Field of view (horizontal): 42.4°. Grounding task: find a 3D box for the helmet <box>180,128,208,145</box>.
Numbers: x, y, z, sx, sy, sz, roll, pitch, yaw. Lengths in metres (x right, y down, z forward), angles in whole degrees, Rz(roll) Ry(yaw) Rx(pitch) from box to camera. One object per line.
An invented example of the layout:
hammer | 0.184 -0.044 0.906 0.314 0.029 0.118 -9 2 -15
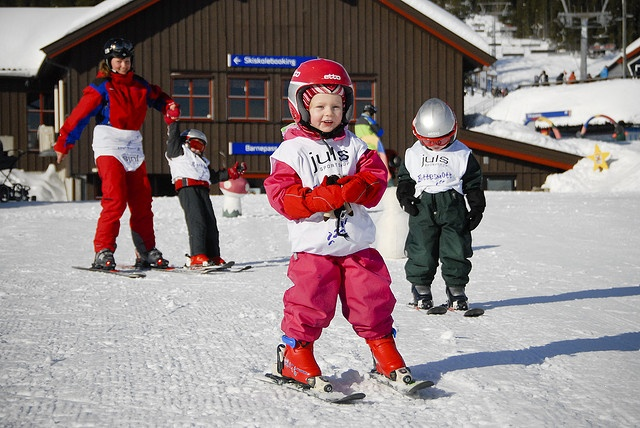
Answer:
helmet | -1.899 -1.174 12.334 0.328 0.314 0.259 13 4 7

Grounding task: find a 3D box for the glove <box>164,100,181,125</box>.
glove | -2.162 -1.459 12.026 0.189 0.337 0.173 6 -7 -21

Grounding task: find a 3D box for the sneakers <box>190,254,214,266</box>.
sneakers | -1.725 0.676 11.919 0.392 0.207 0.145 -1 -11 15

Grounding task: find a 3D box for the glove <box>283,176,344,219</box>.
glove | -0.080 -0.154 8.747 0.513 0.435 0.220 -16 -14 20

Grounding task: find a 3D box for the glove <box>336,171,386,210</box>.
glove | 0.425 -0.254 8.811 0.364 0.396 0.178 -15 40 29

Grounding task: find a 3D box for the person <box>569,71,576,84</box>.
person | 15.182 -8.251 49.819 0.426 0.643 3.715 2 9 16

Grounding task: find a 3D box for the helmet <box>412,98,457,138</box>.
helmet | 1.429 -1.170 10.427 0.391 0.494 0.566 -4 45 16

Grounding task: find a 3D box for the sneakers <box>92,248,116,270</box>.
sneakers | -3.066 0.647 11.625 0.325 0.284 0.242 -2 8 -11

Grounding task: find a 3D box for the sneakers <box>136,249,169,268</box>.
sneakers | -2.479 0.668 11.993 0.541 0.308 0.211 -1 -1 22

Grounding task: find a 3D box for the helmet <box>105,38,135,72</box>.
helmet | -2.916 -2.294 11.873 0.343 0.468 0.446 -5 19 -29

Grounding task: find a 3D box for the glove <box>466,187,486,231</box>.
glove | 1.940 -0.058 10.412 0.143 0.471 0.316 8 2 30

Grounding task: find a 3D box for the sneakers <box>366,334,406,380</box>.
sneakers | 0.723 1.539 8.897 0.215 0.304 0.622 -12 10 -15

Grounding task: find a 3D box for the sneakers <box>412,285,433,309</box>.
sneakers | 1.275 1.060 10.354 0.194 0.277 0.284 1 -14 -11

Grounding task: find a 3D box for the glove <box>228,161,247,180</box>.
glove | -1.252 -0.658 12.491 0.233 0.138 0.315 3 6 12
